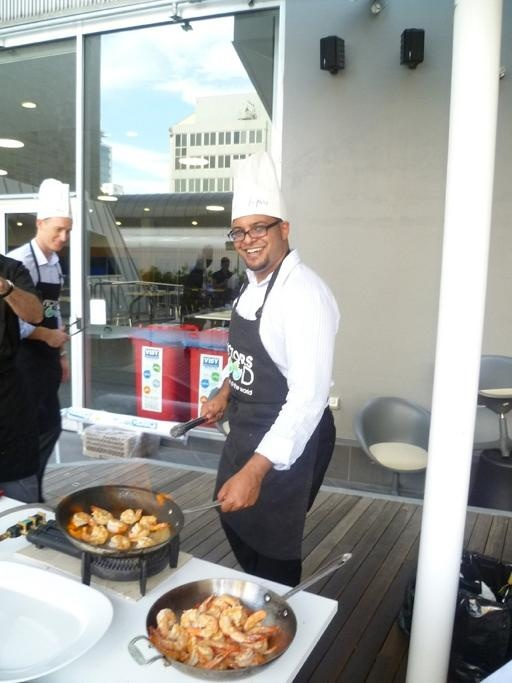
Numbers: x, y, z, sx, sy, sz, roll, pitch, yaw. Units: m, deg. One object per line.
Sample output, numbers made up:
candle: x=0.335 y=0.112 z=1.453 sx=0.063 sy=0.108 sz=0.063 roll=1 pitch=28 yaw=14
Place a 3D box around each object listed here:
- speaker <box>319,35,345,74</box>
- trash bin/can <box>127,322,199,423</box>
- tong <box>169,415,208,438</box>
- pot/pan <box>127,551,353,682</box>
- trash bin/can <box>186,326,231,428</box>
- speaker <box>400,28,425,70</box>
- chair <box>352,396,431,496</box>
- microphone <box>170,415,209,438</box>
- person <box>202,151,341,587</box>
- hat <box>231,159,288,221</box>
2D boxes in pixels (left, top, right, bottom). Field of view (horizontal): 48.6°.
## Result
speaker: x=0.470 y=-1.747 z=3.440 sx=0.145 sy=0.188 sz=0.078 roll=1 pitch=8 yaw=5
trash bin/can: x=-0.715 y=0.225 z=4.389 sx=0.484 sy=0.737 sz=0.378 roll=-4 pitch=14 yaw=-29
tong: x=-0.195 y=0.222 z=1.548 sx=0.037 sy=0.058 sz=0.140 roll=-21 pitch=-7 yaw=31
pot/pan: x=-0.040 y=0.468 z=1.024 sx=0.391 sy=0.184 sz=0.244 roll=-4 pitch=9 yaw=-27
trash bin/can: x=-0.360 y=0.251 z=4.154 sx=0.286 sy=0.673 sz=0.374 roll=2 pitch=10 yaw=0
speaker: x=0.902 y=-1.675 z=3.252 sx=0.137 sy=0.184 sz=0.144 roll=2 pitch=9 yaw=15
chair: x=0.770 y=0.509 z=3.203 sx=0.399 sy=0.275 sz=0.548 roll=2 pitch=9 yaw=17
microphone: x=-0.195 y=0.231 z=1.549 sx=0.037 sy=0.056 sz=0.140 roll=-20 pitch=-7 yaw=30
person: x=-0.025 y=0.146 z=1.551 sx=0.378 sy=1.251 sz=0.414 roll=9 pitch=10 yaw=17
hat: x=0.007 y=-0.446 z=1.657 sx=0.141 sy=0.209 sz=0.204 roll=-1 pitch=15 yaw=7
